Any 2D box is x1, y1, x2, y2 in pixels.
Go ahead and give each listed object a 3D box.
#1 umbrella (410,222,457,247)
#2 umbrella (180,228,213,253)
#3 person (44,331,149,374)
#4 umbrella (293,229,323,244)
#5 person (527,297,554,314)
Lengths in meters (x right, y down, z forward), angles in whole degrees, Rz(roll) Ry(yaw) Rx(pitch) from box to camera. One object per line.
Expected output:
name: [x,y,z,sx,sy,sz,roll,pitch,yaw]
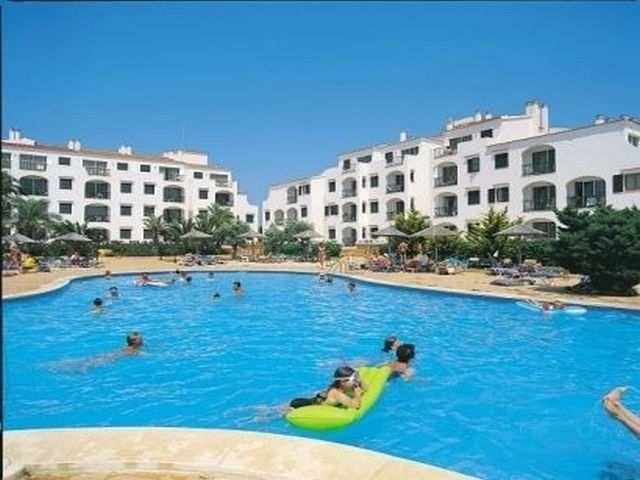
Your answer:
umbrella: [6.213,-0.386,30.676,1.947,0.728,1.886,-2,0,3]
umbrella: [-10.074,0.515,45.416,2.665,2.088,2.453,1,2,-4]
person: [-4.945,2.521,12.444,2.045,0.812,1.215,-1,0,-25]
umbrella: [-0.909,-0.344,42.061,1.681,0.656,1.614,0,-2,14]
person: [6.698,1.977,16.715,0.572,0.399,0.964,-1,0,0]
